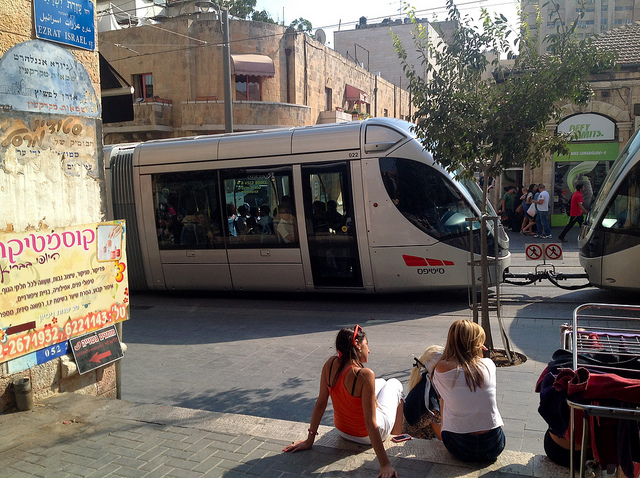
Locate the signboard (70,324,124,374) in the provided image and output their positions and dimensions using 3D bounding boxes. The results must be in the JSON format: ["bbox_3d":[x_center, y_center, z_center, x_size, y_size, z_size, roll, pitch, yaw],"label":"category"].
[{"bbox_3d":[-2.663,1.310,6.352,0.011,0.429,0.659,-13,1,29],"label":"signboard"}]

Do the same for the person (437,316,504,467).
[{"bbox_3d":[1.333,1.356,4.914,0.648,1.531,1.137,-2,9,13],"label":"person"}]

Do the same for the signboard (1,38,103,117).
[{"bbox_3d":[-3.009,-1.787,5.847,0.017,0.645,1.062,2,7,26],"label":"signboard"}]

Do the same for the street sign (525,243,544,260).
[{"bbox_3d":[4.748,0.270,11.737,0.318,0.335,0.016,-18,-11,40],"label":"street sign"}]

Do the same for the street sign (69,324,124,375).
[{"bbox_3d":[-2.666,1.314,6.347,0.613,0.432,0.008,-20,-8,4],"label":"street sign"}]

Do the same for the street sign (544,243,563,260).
[{"bbox_3d":[5.059,0.262,11.526,0.334,0.358,0.017,2,5,24],"label":"street sign"}]

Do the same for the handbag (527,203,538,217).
[{"bbox_3d":[7.892,-1.098,19.680,0.300,0.554,0.230,-20,33,-14],"label":"handbag"}]

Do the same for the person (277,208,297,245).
[{"bbox_3d":[-0.674,-0.268,10.903,0.423,0.781,0.431,-4,13,-25],"label":"person"}]
